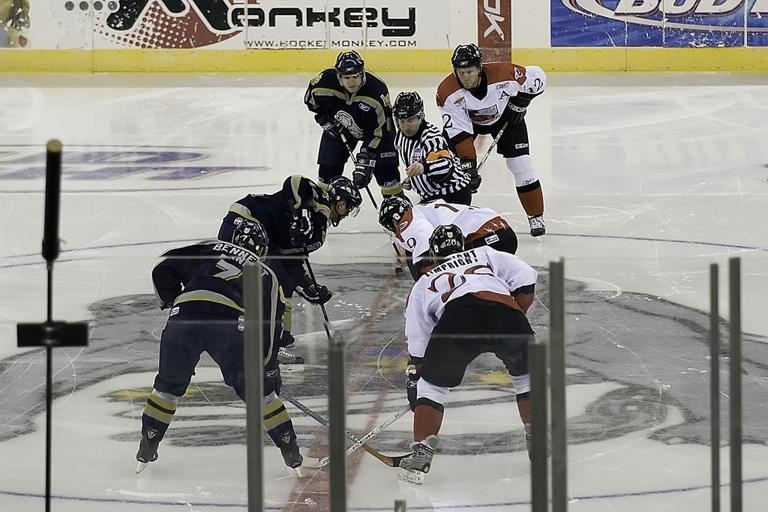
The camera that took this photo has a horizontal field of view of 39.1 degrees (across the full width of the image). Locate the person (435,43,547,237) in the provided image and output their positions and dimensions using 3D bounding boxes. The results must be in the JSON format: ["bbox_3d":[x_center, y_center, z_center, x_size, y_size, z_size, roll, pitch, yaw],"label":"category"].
[{"bbox_3d":[0.777,-0.833,7.656,0.946,1.289,0.771,-11,12,-8],"label":"person"}]

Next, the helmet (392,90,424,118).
[{"bbox_3d":[0.156,-0.987,6.922,0.173,0.172,0.194,5,-8,4],"label":"helmet"}]

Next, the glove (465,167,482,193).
[{"bbox_3d":[0.597,-0.516,7.195,0.146,0.152,0.157,-5,-15,-2],"label":"glove"}]

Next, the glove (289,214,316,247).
[{"bbox_3d":[-0.452,-0.145,5.993,0.142,0.162,0.083,8,2,14],"label":"glove"}]

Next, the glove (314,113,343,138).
[{"bbox_3d":[-0.417,-0.929,7.773,0.183,0.064,0.168,23,18,-3],"label":"glove"}]

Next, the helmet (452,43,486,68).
[{"bbox_3d":[0.561,-1.381,7.367,0.213,0.213,0.237,-3,3,13],"label":"helmet"}]

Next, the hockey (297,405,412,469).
[{"bbox_3d":[-0.133,0.805,4.804,0.385,0.018,0.356,-28,-48,30],"label":"hockey"}]

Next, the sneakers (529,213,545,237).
[{"bbox_3d":[1.067,-0.205,7.552,0.075,0.183,0.083,-9,-36,13],"label":"sneakers"}]

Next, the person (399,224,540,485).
[{"bbox_3d":[0.379,0.487,4.875,0.593,0.943,0.928,-1,13,8],"label":"person"}]

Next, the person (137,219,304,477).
[{"bbox_3d":[-0.733,0.447,4.882,0.725,0.978,0.530,-2,13,3],"label":"person"}]

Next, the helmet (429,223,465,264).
[{"bbox_3d":[0.342,-0.068,5.421,0.191,0.189,0.211,-17,-9,3],"label":"helmet"}]

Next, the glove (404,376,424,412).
[{"bbox_3d":[0.127,0.607,4.797,0.033,0.158,0.078,-11,16,-31],"label":"glove"}]

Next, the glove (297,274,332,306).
[{"bbox_3d":[-0.346,0.161,5.158,0.182,0.117,0.077,29,9,-22],"label":"glove"}]

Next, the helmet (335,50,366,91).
[{"bbox_3d":[-0.226,-1.321,7.544,0.246,0.260,0.269,-5,-27,6],"label":"helmet"}]

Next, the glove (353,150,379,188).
[{"bbox_3d":[-0.121,-0.614,7.689,0.205,0.280,0.143,16,-5,6],"label":"glove"}]
